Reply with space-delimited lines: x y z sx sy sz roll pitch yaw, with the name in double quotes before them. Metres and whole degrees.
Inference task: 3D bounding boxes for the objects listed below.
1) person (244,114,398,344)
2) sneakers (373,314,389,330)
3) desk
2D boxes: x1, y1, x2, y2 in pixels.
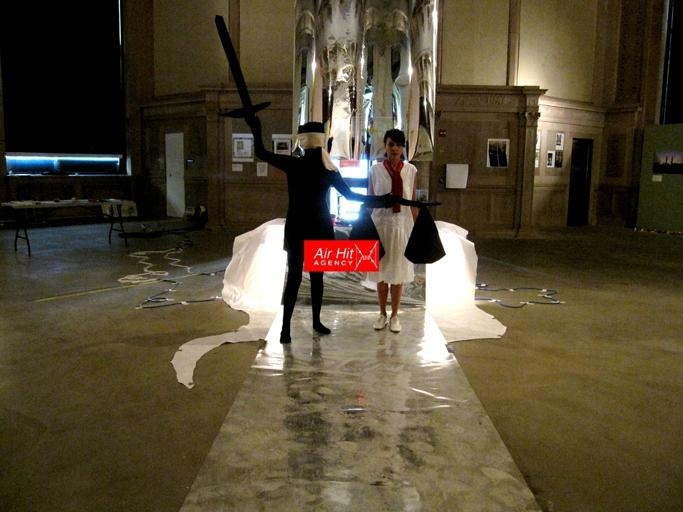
"person" -0.243 -0.241 4.267 1.130 1.965 0.298 -3 9 -14
"sneakers" 0.375 0.642 4.689 0.082 0.076 0.185 -1 -2 24
"desk" -5.767 -0.790 10.188 2.548 0.875 4.655 -4 9 -24
